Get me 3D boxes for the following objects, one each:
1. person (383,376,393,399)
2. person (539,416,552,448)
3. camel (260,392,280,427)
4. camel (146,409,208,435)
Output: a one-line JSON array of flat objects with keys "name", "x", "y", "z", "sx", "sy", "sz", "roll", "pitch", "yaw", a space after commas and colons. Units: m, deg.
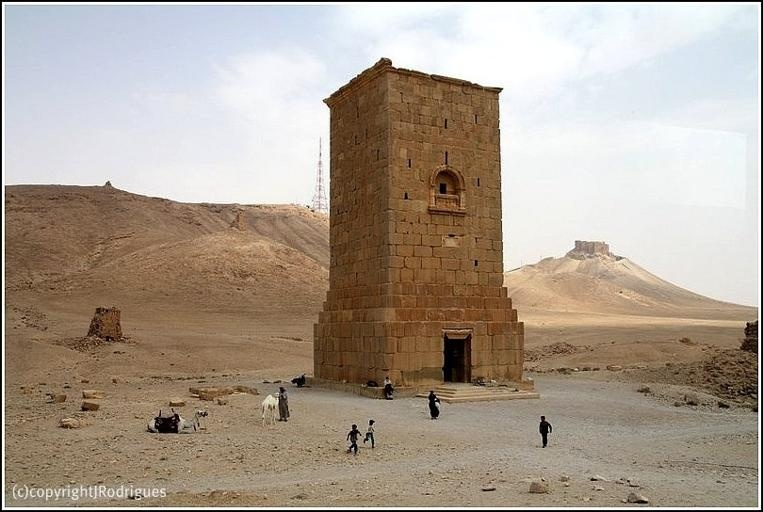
[{"name": "person", "x": 0.265, "y": 5.063, "z": 27.070, "sx": 0.384, "sy": 0.807, "sz": 0.419, "roll": 1, "pitch": -2, "yaw": 1}, {"name": "person", "x": 4.816, "y": 5.060, "z": 20.616, "sx": 0.300, "sy": 0.852, "sz": 1.101, "roll": 1, "pitch": -2, "yaw": 12}, {"name": "camel", "x": -3.525, "y": 4.784, "z": 22.243, "sx": 0.544, "sy": 0.854, "sz": 1.697, "roll": 2, "pitch": -2, "yaw": -9}, {"name": "camel", "x": -5.765, "y": 4.819, "z": 20.896, "sx": 2.305, "sy": 0.768, "sz": 0.737, "roll": -1, "pitch": -3, "yaw": -7}]
